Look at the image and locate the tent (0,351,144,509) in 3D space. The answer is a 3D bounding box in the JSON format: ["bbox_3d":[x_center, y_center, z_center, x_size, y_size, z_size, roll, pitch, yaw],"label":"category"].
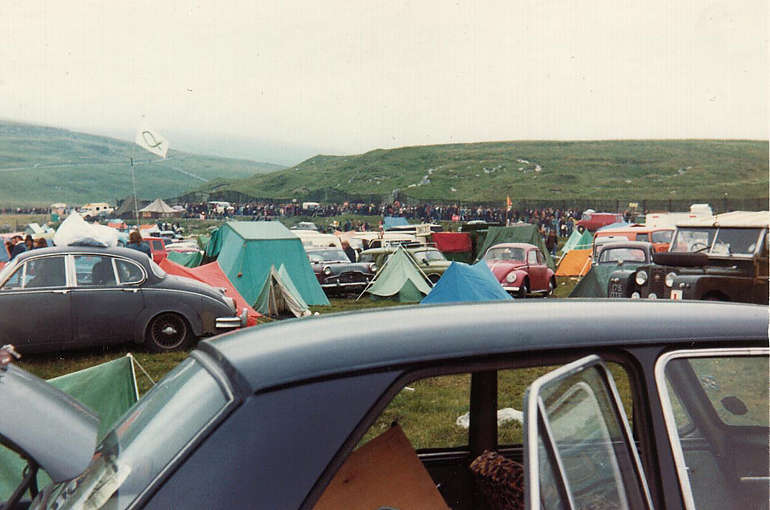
[{"bbox_3d":[-2.223,1.254,5.928,0.838,0.424,0.876,-12,31,25],"label":"tent"}]

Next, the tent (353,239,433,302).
[{"bbox_3d":[0.410,0.365,18.241,1.880,1.087,2.432,-2,4,15],"label":"tent"}]

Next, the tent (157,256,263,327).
[{"bbox_3d":[-2.934,0.459,12.817,1.609,0.666,1.604,22,-3,-30],"label":"tent"}]

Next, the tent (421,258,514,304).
[{"bbox_3d":[1.313,0.453,12.227,0.955,0.477,0.968,-2,0,-24],"label":"tent"}]

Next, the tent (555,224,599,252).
[{"bbox_3d":[7.156,-0.571,28.106,1.701,0.778,1.690,-1,-1,-30],"label":"tent"}]

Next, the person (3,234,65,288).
[{"bbox_3d":[-4.679,0.222,10.048,0.733,0.378,0.101,-5,-2,-28],"label":"person"}]
